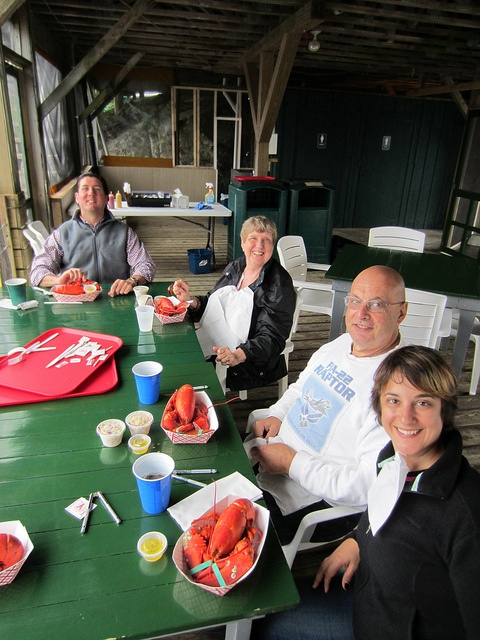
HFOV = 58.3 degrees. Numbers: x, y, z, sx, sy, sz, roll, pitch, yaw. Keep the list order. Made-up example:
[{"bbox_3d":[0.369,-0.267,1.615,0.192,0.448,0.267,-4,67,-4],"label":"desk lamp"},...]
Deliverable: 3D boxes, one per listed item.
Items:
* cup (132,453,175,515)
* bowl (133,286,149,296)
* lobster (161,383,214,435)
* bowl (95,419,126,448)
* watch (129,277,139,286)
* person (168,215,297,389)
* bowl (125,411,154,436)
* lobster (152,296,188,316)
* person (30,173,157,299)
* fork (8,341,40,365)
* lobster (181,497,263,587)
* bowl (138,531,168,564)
[{"bbox_3d":[-0.200,0.384,0.998,0.092,0.102,0.127,-6,21,-25],"label":"cup"},{"bbox_3d":[-0.536,-0.160,2.325,0.070,0.047,0.067,0,9,0],"label":"bowl"},{"bbox_3d":[-0.161,0.270,1.329,0.149,0.054,0.220,3,44,-7],"label":"lobster"},{"bbox_3d":[-0.384,0.328,1.260,0.073,0.041,0.069,1,15,0],"label":"bowl"},{"bbox_3d":[-0.666,-0.241,2.710,0.048,0.063,0.070,-4,23,-36],"label":"watch"},{"bbox_3d":[-0.002,-0.062,2.484,0.573,1.117,0.581,4,7,24],"label":"person"},{"bbox_3d":[-0.297,0.301,1.277,0.074,0.042,0.071,-1,14,0],"label":"bowl"},{"bbox_3d":[-0.359,-0.065,2.266,0.126,0.054,0.124,14,17,40],"label":"lobster"},{"bbox_3d":[-0.970,-0.408,2.812,0.776,0.948,0.667,-2,25,-22],"label":"person"},{"bbox_3d":[-0.866,0.133,1.719,0.041,0.023,0.133,9,19,1],"label":"fork"},{"bbox_3d":[-0.034,0.430,0.874,0.148,0.095,0.218,7,22,10],"label":"lobster"},{"bbox_3d":[-0.179,0.460,0.882,0.057,0.017,0.068,-3,22,-14],"label":"bowl"}]
